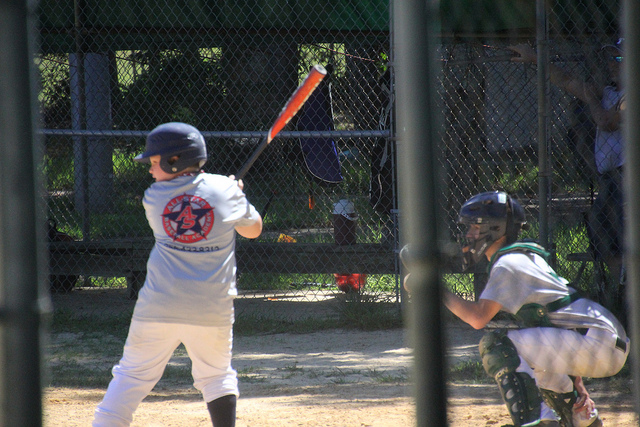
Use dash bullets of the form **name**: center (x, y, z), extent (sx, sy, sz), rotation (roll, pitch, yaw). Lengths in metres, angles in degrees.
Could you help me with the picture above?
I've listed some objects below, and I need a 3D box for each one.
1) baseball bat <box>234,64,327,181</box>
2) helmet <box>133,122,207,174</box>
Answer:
- **baseball bat**: center (-0.294, -0.754, 8.931), extent (0.096, 0.133, 1.667), rotation (-6, -20, -26)
- **helmet**: center (-1.158, -0.486, 8.356), extent (0.588, 0.419, 0.414), rotation (-2, 2, -4)
